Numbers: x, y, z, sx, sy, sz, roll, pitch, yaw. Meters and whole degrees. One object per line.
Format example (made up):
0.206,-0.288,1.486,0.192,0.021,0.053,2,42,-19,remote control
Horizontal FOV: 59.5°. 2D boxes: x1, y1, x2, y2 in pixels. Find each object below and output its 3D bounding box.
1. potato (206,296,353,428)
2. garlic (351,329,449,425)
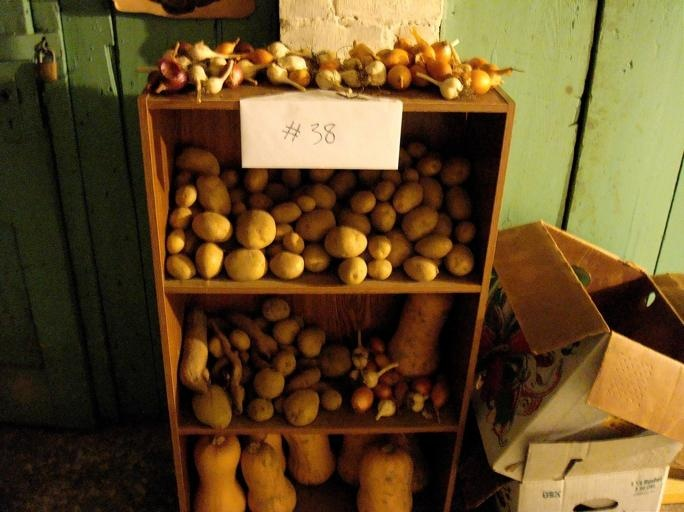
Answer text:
-0.197,0.320,1.817,0.332,0.426,0.401,-3,23,-9,potato
0.152,0.391,1.846,0.209,0.072,0.234,0,48,-14,garlic
